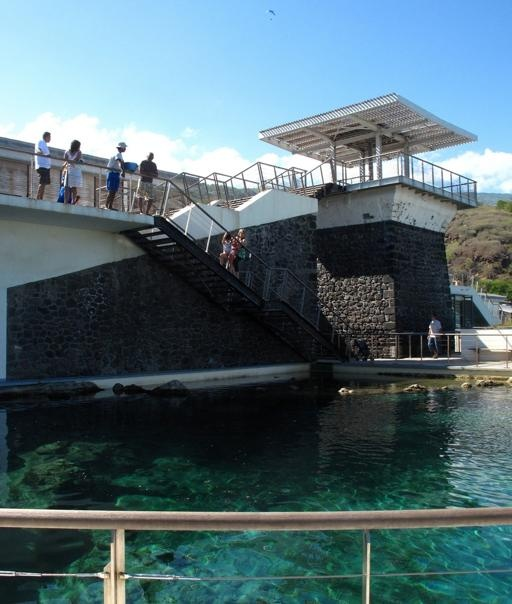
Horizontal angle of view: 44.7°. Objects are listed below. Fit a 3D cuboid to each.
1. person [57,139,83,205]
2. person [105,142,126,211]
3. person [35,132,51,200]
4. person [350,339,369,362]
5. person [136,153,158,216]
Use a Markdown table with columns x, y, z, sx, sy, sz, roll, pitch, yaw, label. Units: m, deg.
| x | y | z | sx | sy | sz | roll | pitch | yaw | label |
| --- | --- | --- | --- | --- | --- | --- | --- | --- | --- |
| -3.591 | -2.467 | 12.173 | 0.510 | 1.183 | 0.549 | -3 | -2 | 5 | person |
| -2.817 | -2.582 | 12.454 | 0.443 | 1.390 | 1.791 | -2 | -1 | -11 | person |
| -3.978 | -2.411 | 11.644 | 0.299 | 1.035 | 0.597 | -2 | -2 | -19 | person |
| 3.054 | 1.379 | 17.860 | 0.208 | 0.611 | 0.785 | 0 | -1 | -32 | person |
| -2.347 | -2.515 | 13.460 | 0.455 | 1.327 | 0.776 | -2 | -2 | -9 | person |
